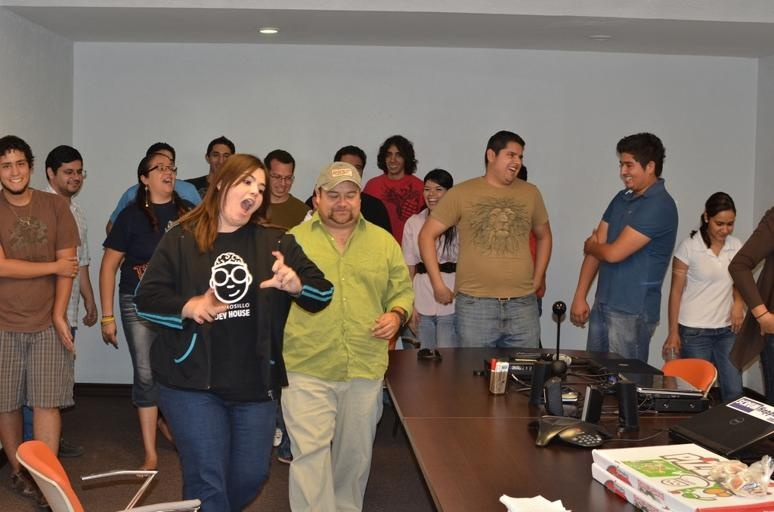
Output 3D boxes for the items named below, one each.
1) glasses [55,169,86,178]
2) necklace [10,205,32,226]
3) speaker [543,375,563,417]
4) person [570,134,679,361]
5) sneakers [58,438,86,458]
[{"bbox_3d":[-2.540,-0.664,5.016,0.120,0.039,0.118,0,-8,-44],"label":"glasses"},{"bbox_3d":[-2.538,-0.269,4.355,0.106,0.123,0.043,-3,14,5],"label":"necklace"},{"bbox_3d":[0.869,0.737,3.280,0.099,0.176,0.217,-1,14,13],"label":"speaker"},{"bbox_3d":[1.838,-0.077,4.855,0.611,1.683,0.592,6,17,38],"label":"person"},{"bbox_3d":[-2.460,1.517,4.960,0.305,0.132,0.112,1,3,13],"label":"sneakers"}]
